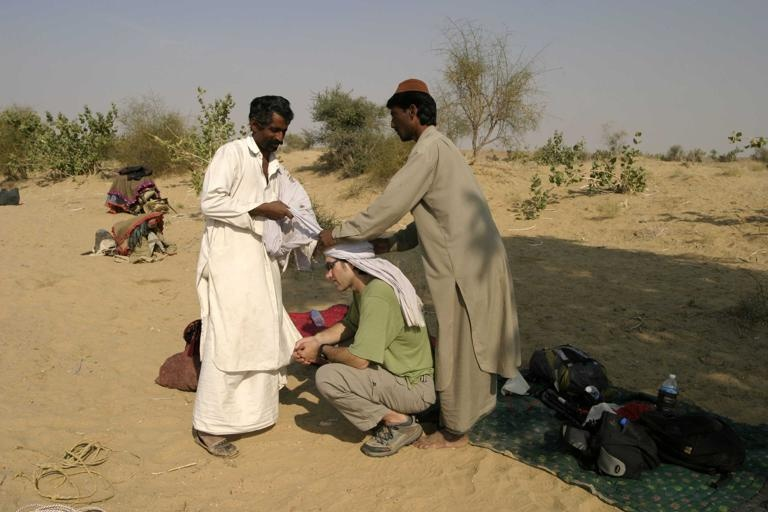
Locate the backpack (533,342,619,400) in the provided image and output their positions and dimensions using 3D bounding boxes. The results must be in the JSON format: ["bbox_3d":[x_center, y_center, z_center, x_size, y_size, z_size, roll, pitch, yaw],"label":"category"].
[{"bbox_3d":[1.934,1.164,6.676,0.578,0.363,0.833,-4,9,-15],"label":"backpack"}]

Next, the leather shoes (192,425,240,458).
[{"bbox_3d":[-1.539,1.732,5.966,0.393,0.117,0.232,18,7,8],"label":"leather shoes"}]

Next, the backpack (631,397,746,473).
[{"bbox_3d":[2.759,1.592,5.723,0.692,0.262,0.558,8,9,29],"label":"backpack"}]

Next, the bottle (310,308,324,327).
[{"bbox_3d":[-0.767,0.726,7.423,0.108,0.044,0.221,-24,45,-19],"label":"bottle"}]
